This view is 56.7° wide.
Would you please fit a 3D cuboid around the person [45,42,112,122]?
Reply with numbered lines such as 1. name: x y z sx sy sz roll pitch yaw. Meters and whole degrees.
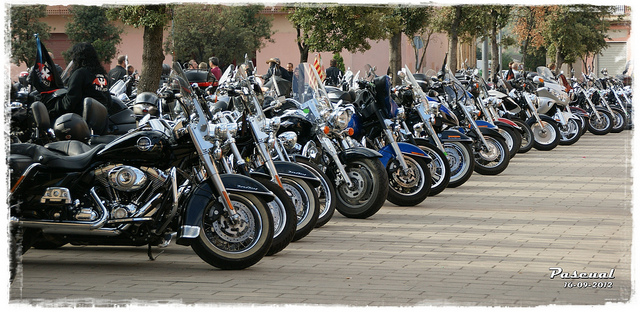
1. person: -5.268 -1.636 13.119 2.487 1.208 1.071 13 33 38

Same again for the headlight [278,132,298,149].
1. headlight: -0.602 -0.338 11.549 0.274 0.254 0.331 9 -4 -37

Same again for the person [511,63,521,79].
1. person: 7.057 -3.068 21.330 0.479 0.383 1.072 -13 -4 22

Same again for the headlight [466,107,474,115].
1. headlight: 3.968 -1.218 15.616 0.161 0.142 0.038 9 4 38

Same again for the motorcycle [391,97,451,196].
1. motorcycle: 2.305 -0.114 13.465 1.323 2.364 0.808 1 16 7

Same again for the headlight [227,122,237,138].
1. headlight: -1.483 -0.462 10.182 0.171 0.168 0.200 1 12 1

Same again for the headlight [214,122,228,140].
1. headlight: -1.657 -0.422 9.924 0.276 0.238 0.189 7 1 -44

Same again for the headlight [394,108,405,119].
1. headlight: 1.753 -0.942 13.066 0.196 0.232 0.110 3 16 12

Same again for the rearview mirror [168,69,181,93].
1. rearview mirror: -2.471 -1.267 10.030 0.135 0.353 0.220 -25 29 -12

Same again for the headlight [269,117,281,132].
1. headlight: -0.833 -0.605 11.097 0.250 0.201 0.182 6 -5 -43

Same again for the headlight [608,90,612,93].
1. headlight: 12.454 -2.783 25.463 0.083 0.103 0.034 -26 -10 -2

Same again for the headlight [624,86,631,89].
1. headlight: 13.920 -3.104 26.774 0.182 0.044 0.179 -35 24 -34

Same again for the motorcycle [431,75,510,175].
1. motorcycle: 4.398 -0.769 16.438 3.229 1.848 1.672 4 12 8
